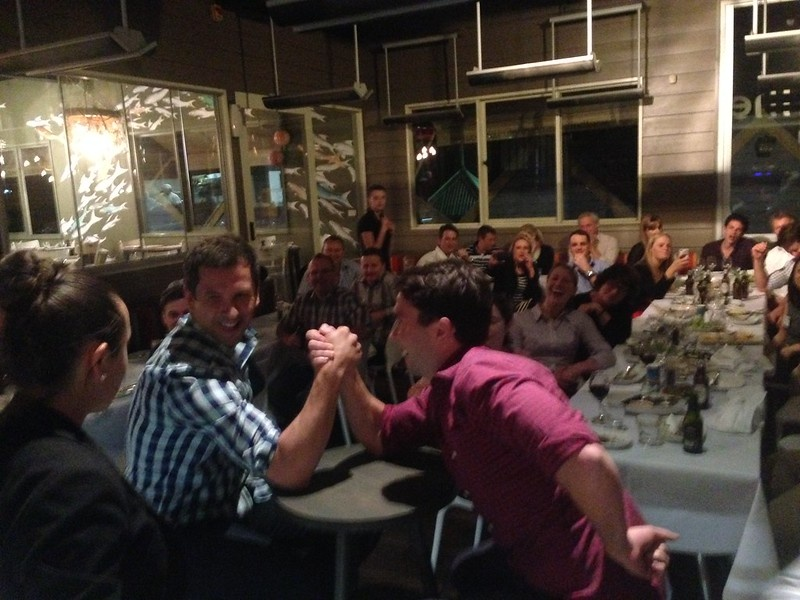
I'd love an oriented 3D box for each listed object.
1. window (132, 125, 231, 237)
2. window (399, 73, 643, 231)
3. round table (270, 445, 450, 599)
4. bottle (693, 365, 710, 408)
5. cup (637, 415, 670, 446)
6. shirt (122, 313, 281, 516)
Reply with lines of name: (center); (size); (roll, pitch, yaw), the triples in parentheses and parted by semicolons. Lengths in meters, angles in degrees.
window: (-2.416, -1.345, 6.908); (1.230, 1.177, 0.082); (-1, 6, 15)
window: (1.647, -1.886, 8.201); (3.174, 1.730, 0.268); (7, 22, 32)
round table: (-0.080, 0.531, 1.727); (0.430, 0.285, 0.436); (-3, 14, 1)
bottle: (1.285, 0.372, 2.655); (0.057, 0.085, 0.360); (15, 17, 22)
cup: (0.929, 0.470, 2.301); (0.097, 0.104, 0.095); (-3, 3, 0)
shirt: (-0.539, 0.309, 1.935); (0.500, 0.657, 0.741); (1, 9, -17)
